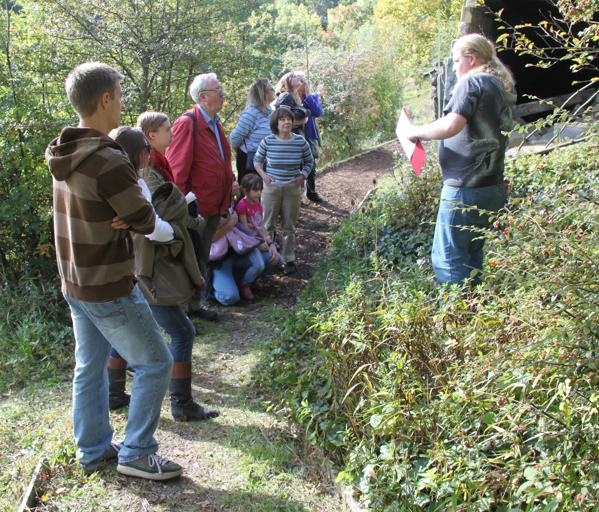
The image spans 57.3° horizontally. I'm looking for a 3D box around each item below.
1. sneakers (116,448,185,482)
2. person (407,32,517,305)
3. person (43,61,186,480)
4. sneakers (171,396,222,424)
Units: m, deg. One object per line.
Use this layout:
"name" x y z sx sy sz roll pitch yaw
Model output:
"sneakers" -0.879 1.222 3.264 0.351 0.160 0.165 2 1 -8
"person" 1.259 -0.682 3.996 0.756 1.845 0.682 -6 12 -8
"person" -1.089 0.161 3.097 0.621 2.418 0.370 -7 12 -10
"sneakers" -0.755 1.086 3.954 0.368 0.150 0.128 -3 11 -17
